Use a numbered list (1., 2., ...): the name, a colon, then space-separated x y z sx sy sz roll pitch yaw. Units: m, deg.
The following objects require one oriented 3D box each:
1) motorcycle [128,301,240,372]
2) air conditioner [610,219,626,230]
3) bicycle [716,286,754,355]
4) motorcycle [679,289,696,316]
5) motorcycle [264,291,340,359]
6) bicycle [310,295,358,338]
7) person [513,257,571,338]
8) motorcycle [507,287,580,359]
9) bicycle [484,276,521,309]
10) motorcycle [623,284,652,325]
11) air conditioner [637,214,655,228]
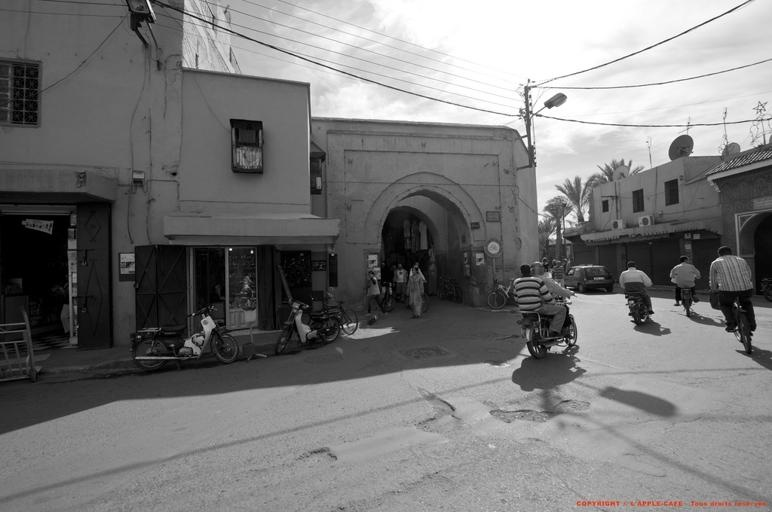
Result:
1. motorcycle: -5.204 2.114 15.034 2.899 1.874 1.374 -5 -5 -16
2. air conditioner: 14.234 -1.833 34.090 0.559 0.908 0.873 1 -6 -2
3. bicycle: 8.518 1.621 13.270 0.350 1.575 0.829 -5 -2 24
4. motorcycle: 9.541 1.445 17.550 0.366 0.953 0.734 -6 -3 34
5. motorcycle: -2.349 1.971 16.024 2.128 1.061 0.853 -2 -3 -41
6. bicycle: -1.637 1.738 16.566 1.744 1.166 0.767 -3 -10 -38
7. person: 3.962 1.053 14.130 1.084 1.463 1.876 2 1 37
8. motorcycle: 4.174 1.620 13.812 2.294 1.624 1.057 -2 -5 -45
9. bicycle: 4.490 1.606 22.235 1.663 1.150 1.087 -13 -5 -5
10. motorcycle: 7.364 1.395 16.148 0.620 1.226 0.514 -5 -2 20
11. air conditioner: 14.626 -1.901 31.152 0.770 0.720 1.671 -6 -3 25
